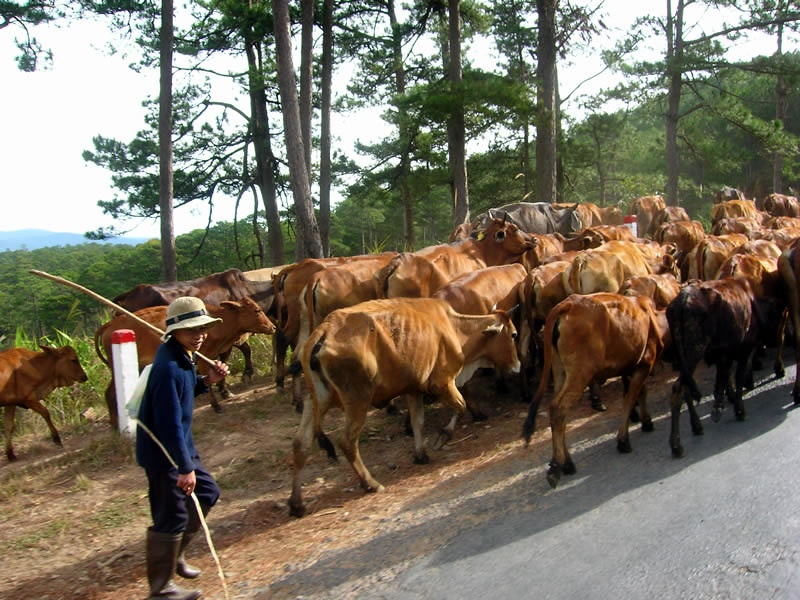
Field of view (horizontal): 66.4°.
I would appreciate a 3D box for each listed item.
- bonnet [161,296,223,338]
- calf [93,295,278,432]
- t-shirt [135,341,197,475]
[{"bbox_3d":[-2.014,0.181,5.850,0.433,0.232,0.422,-13,2,-26],"label":"bonnet"},{"bbox_3d":[-3.833,0.962,11.008,3.009,1.791,0.971,-12,5,-24],"label":"calf"},{"bbox_3d":[-2.271,1.007,6.045,0.636,1.136,1.205,1,4,-15],"label":"t-shirt"}]
